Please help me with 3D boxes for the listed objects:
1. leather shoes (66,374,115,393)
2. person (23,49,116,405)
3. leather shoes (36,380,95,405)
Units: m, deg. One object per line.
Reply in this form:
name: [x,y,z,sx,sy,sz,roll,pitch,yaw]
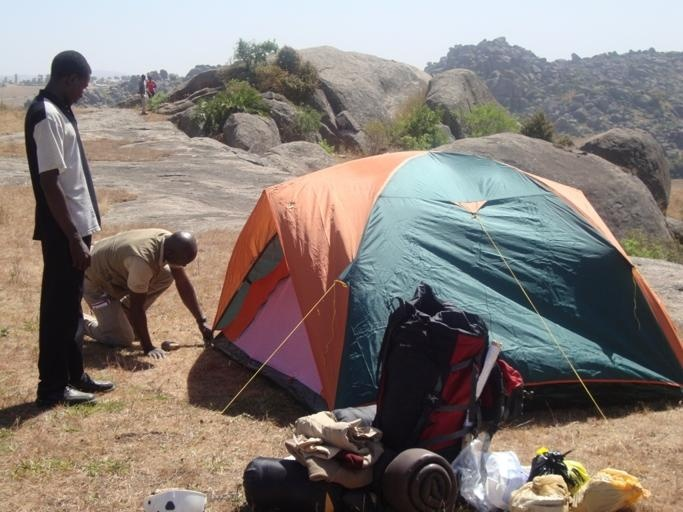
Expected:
leather shoes: [-2.338,1.178,6.030,0.363,0.153,0.132,4,7,-30]
person: [-2.402,-0.200,5.618,0.614,3.037,0.758,-1,15,-27]
leather shoes: [-2.495,1.231,5.823,0.475,0.197,0.180,0,1,-15]
